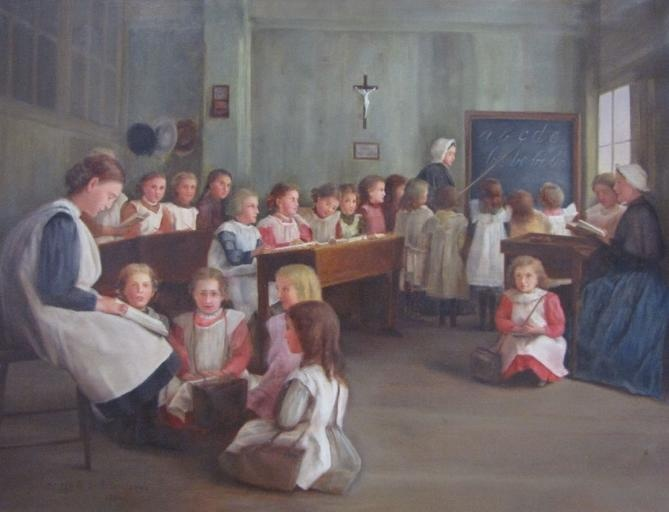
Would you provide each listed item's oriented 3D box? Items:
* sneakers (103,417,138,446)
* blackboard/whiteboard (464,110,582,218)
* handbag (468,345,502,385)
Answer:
[{"bbox_3d":[-1.565,1.285,6.348,0.293,0.212,0.174,-2,-13,2],"label":"sneakers"},{"bbox_3d":[1.505,-0.723,6.641,0.784,0.813,0.076,-1,4,-1],"label":"blackboard/whiteboard"},{"bbox_3d":[1.150,0.822,6.469,0.259,0.248,0.198,13,-7,-10],"label":"handbag"}]
